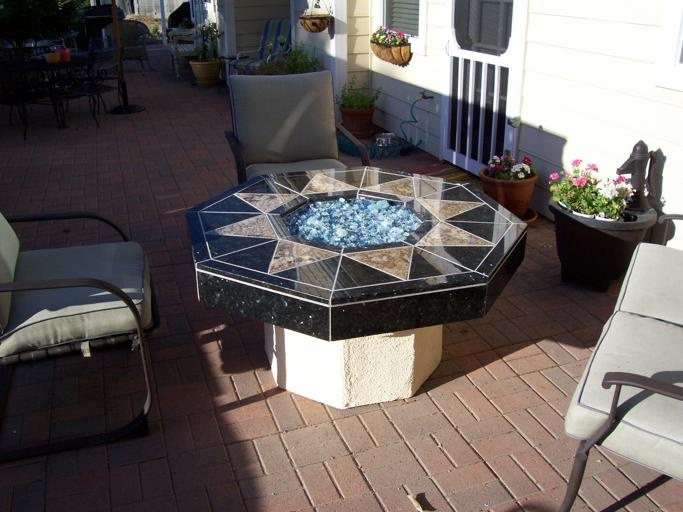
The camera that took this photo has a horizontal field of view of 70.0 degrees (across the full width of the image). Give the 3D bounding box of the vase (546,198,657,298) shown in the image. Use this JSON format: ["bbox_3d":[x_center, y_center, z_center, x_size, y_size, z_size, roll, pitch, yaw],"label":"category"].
[{"bbox_3d":[1.883,-0.092,3.771,0.670,0.520,0.671,-9,31,-9],"label":"vase"}]

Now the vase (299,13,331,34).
[{"bbox_3d":[-0.379,-3.356,7.016,0.439,0.208,0.292,-4,28,-8],"label":"vase"}]

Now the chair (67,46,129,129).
[{"bbox_3d":[-4.144,-2.784,7.876,0.780,1.054,0.768,3,4,-17],"label":"chair"}]

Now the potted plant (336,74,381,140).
[{"bbox_3d":[0.235,-2.038,7.074,0.529,0.403,0.529,-1,39,0],"label":"potted plant"}]

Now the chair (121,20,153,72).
[{"bbox_3d":[-5.234,-5.247,11.989,0.834,1.018,0.781,-4,27,-4],"label":"chair"}]

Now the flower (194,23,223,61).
[{"bbox_3d":[-3.054,-4.921,11.119,0.591,0.727,1.522,-7,28,-12],"label":"flower"}]

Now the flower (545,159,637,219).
[{"bbox_3d":[1.768,-0.487,3.577,0.465,0.193,0.567,-40,52,-22],"label":"flower"}]

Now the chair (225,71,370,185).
[{"bbox_3d":[-0.520,-1.223,4.605,1.115,1.454,1.208,-8,32,-11],"label":"chair"}]

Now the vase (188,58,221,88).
[{"bbox_3d":[-2.963,-4.151,10.758,0.648,0.461,0.654,-3,35,-3],"label":"vase"}]

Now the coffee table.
[{"bbox_3d":[0.056,0.181,2.962,1.843,0.856,1.481,12,30,21],"label":"coffee table"}]

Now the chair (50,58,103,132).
[{"bbox_3d":[-4.272,-2.608,7.797,0.699,1.009,0.719,-11,15,-24],"label":"chair"}]

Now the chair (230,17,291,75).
[{"bbox_3d":[-1.418,-3.742,9.053,0.820,1.186,1.122,15,32,26],"label":"chair"}]

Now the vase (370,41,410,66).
[{"bbox_3d":[0.666,-2.672,6.469,0.294,0.304,0.602,-12,30,-22],"label":"vase"}]

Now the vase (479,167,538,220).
[{"bbox_3d":[1.641,-0.573,4.600,0.502,0.395,0.492,-15,20,-20],"label":"vase"}]
